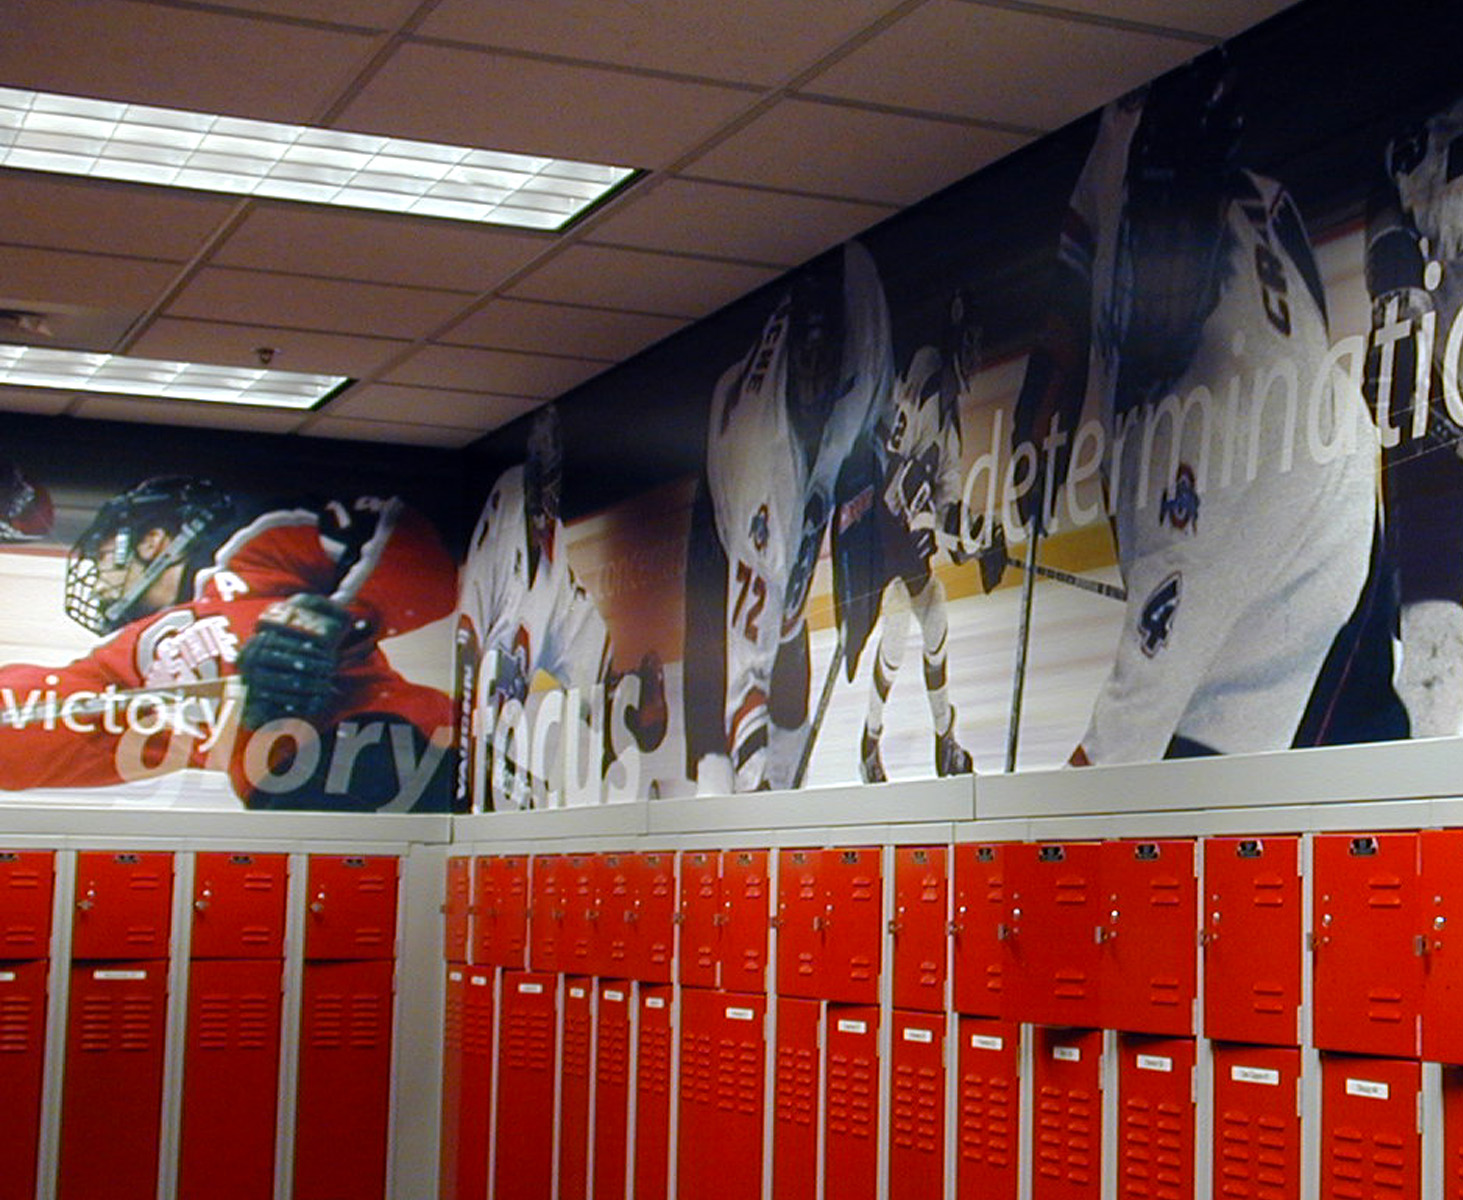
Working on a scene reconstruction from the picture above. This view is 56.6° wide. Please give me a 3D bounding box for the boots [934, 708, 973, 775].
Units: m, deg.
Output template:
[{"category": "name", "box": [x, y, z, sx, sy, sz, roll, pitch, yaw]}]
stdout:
[{"category": "boots", "box": [0.749, 0.485, 4.549, 0.085, 0.246, 0.076, 1, -11, -19]}]
